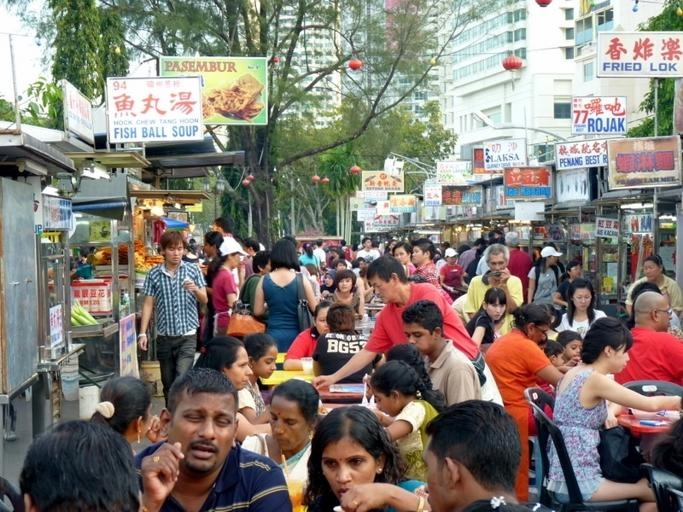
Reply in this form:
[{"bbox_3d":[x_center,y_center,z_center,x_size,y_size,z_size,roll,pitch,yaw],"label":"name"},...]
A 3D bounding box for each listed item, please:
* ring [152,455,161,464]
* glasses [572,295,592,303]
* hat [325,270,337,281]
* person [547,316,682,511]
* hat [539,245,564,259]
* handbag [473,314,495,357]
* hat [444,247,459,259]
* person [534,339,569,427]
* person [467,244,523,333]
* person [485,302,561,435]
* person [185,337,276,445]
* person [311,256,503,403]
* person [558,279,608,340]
[{"bbox_3d":[-1.012,1.098,4.417,0.027,0.052,0.049,-5,-17,31],"label":"ring"},{"bbox_3d":[2.863,0.503,9.627,0.203,0.109,0.089,0,2,8],"label":"glasses"},{"bbox_3d":[-0.203,0.332,14.428,0.137,0.213,0.204,-3,2,19],"label":"hat"},{"bbox_3d":[2.162,1.266,6.609,0.825,1.525,0.450,0,2,6],"label":"person"},{"bbox_3d":[3.814,-0.049,14.643,0.312,0.198,0.230,-5,13,-9],"label":"hat"},{"bbox_3d":[1.524,0.849,8.699,0.149,0.537,0.259,-6,9,-32],"label":"handbag"},{"bbox_3d":[2.289,-0.078,17.086,0.212,0.149,0.355,-6,5,-11],"label":"hat"},{"bbox_3d":[2.236,1.344,8.413,0.294,0.962,0.268,-1,-9,33],"label":"person"},{"bbox_3d":[1.942,0.697,10.405,0.628,1.811,0.543,-2,26,8],"label":"person"},{"bbox_3d":[1.832,1.160,7.756,0.714,1.442,0.574,-5,12,-8],"label":"person"},{"bbox_3d":[-0.847,0.955,6.449,0.674,1.179,0.539,-4,8,-8],"label":"person"},{"bbox_3d":[0.598,0.933,7.746,1.334,2.264,1.188,2,-22,-15],"label":"person"},{"bbox_3d":[2.889,0.621,9.776,0.658,0.773,0.394,-3,15,10],"label":"person"}]
